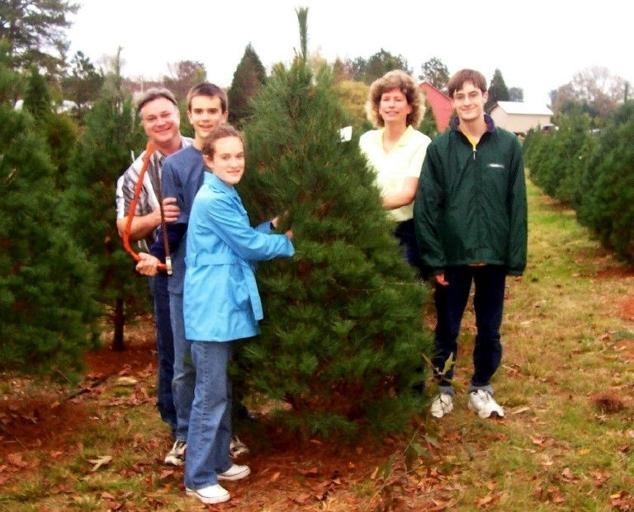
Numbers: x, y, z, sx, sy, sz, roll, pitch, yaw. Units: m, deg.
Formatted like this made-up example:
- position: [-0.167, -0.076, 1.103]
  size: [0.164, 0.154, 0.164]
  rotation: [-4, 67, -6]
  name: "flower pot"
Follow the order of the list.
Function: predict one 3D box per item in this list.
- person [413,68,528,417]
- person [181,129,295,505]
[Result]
- position: [1.311, -0.035, 5.526]
  size: [0.973, 3.026, 0.723]
  rotation: [3, 13, 5]
  name: "person"
- position: [-0.618, 0.429, 4.696]
  size: [0.695, 2.685, 0.613]
  rotation: [-1, 13, -10]
  name: "person"
